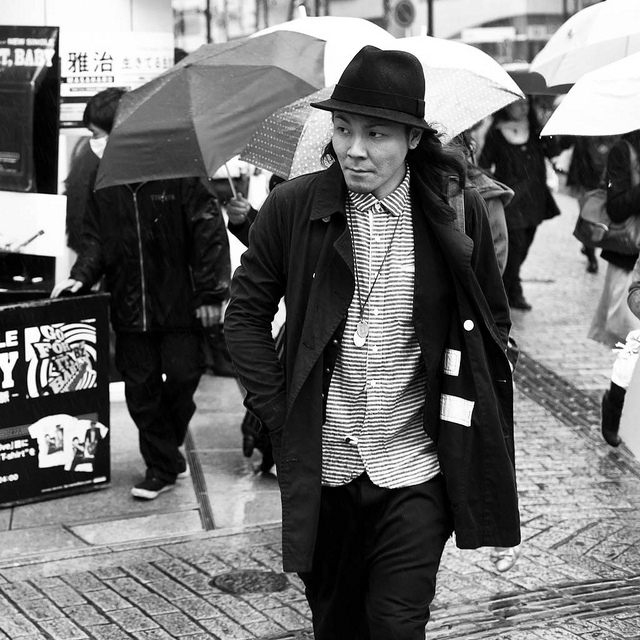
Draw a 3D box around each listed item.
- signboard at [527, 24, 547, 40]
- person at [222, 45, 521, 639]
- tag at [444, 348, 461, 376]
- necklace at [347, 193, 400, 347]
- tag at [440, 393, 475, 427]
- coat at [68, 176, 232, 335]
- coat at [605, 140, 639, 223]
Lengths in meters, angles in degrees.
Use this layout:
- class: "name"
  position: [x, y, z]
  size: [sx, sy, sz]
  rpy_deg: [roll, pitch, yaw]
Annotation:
- class: "signboard"
  position: [5.429, -7.258, 25.023]
  size: [0.495, 0.456, 2.450]
  rpy_deg: [4, 14, 11]
- class: "person"
  position: [0.157, 0.158, 2.945]
  size: [0.894, 1.873, 0.580]
  rpy_deg: [4, 12, 13]
- class: "tag"
  position: [0.392, 0.121, 2.932]
  size: [0.060, 0.103, 0.012]
  rpy_deg: [6, 8, 37]
- class: "necklace"
  position: [0.148, -0.120, 2.936]
  size: [0.102, 0.357, 0.191]
  rpy_deg: [6, 13, 25]
- class: "tag"
  position: [0.402, 0.262, 2.971]
  size: [0.118, 0.101, 0.074]
  rpy_deg: [14, -2, 30]
- class: "coat"
  position: [-0.963, -0.417, 5.559]
  size: [0.818, 1.190, 0.532]
  rpy_deg: [-4, -28, -13]
- class: "coat"
  position: [1.902, -0.873, 6.283]
  size: [0.196, 0.504, 0.414]
  rpy_deg: [4, 13, 16]
